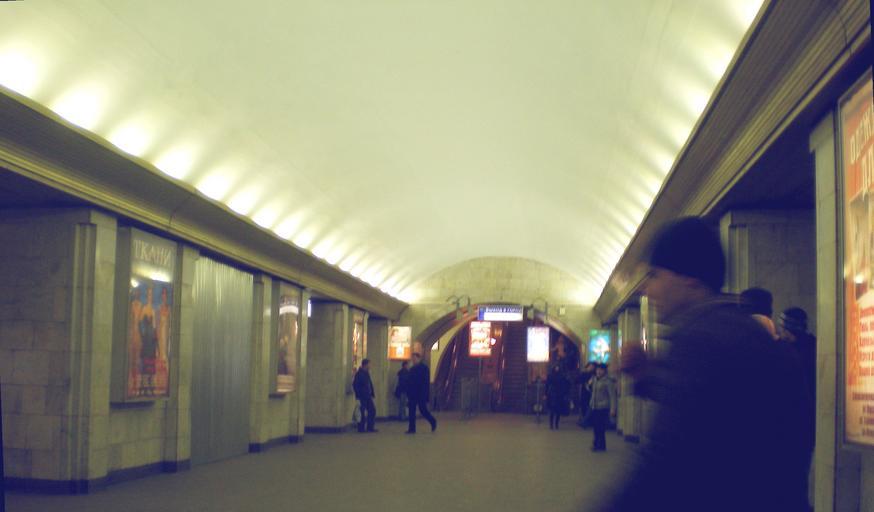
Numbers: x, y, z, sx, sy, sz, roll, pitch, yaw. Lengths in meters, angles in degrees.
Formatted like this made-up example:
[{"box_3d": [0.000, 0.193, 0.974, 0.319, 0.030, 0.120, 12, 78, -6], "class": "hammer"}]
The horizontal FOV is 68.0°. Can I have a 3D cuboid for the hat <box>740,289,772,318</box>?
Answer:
[{"box_3d": [2.314, 0.342, 4.652, 0.200, 0.186, 0.201, 3, -24, 6], "class": "hat"}]

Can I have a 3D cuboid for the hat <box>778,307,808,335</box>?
[{"box_3d": [3.701, 0.684, 6.680, 0.310, 0.235, 0.232, 26, -16, -23], "class": "hat"}]

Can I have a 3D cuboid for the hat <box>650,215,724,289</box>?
[{"box_3d": [1.489, -0.002, 3.975, 0.366, 0.444, 0.463, 0, -15, 1], "class": "hat"}]
